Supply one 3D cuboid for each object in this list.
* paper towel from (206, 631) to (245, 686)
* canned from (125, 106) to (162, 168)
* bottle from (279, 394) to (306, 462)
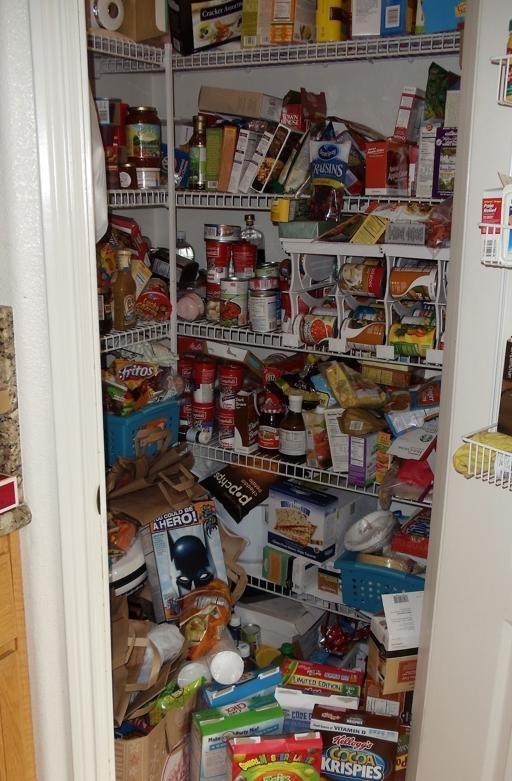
[{"bbox_3d":[-0.110,0.737,1.612,0.116,0.118,0.180,0,1,-9],"label":"paper towel"},{"bbox_3d":[-0.365,-0.816,1.888,0.121,0.178,0.125,-5,19,-21],"label":"canned"},{"bbox_3d":[0.125,0.118,1.918,0.111,0.206,0.116,3,13,-1],"label":"bottle"}]
